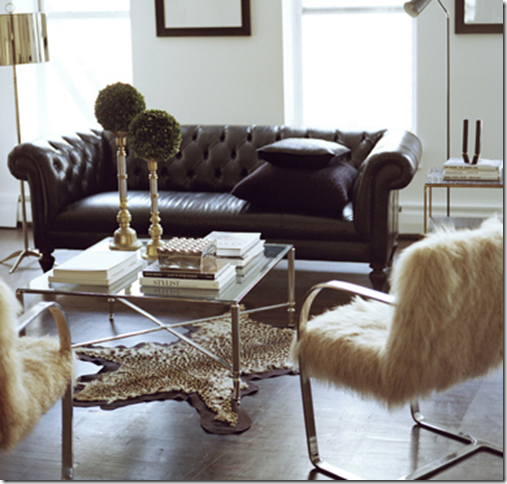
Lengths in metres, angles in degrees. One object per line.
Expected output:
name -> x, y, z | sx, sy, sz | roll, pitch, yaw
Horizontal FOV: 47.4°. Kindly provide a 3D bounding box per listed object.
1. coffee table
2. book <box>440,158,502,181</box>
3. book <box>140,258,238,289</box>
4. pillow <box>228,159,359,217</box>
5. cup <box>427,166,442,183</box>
coffee table -> -0.190, 0.202, 2.486 | 0.772, 0.445, 0.843 | 3, 15, 16
book -> 1.417, -0.471, 3.748 | 0.360, 0.124, 0.259 | 3, 12, 25
book -> -0.256, 0.122, 2.240 | 0.362, 0.086, 0.188 | -2, 11, 1
pillow -> 0.242, -0.337, 3.528 | 0.753, 0.287, 0.300 | 0, 11, 11
cup -> 1.190, -0.444, 3.800 | 0.094, 0.052, 0.146 | 3, 21, 17
